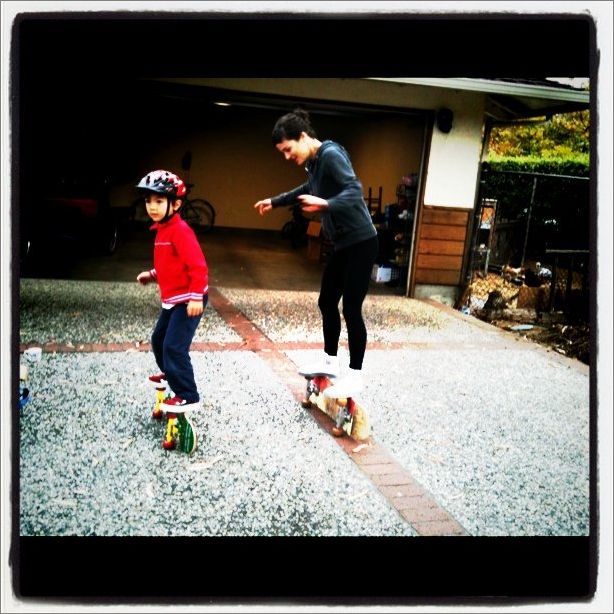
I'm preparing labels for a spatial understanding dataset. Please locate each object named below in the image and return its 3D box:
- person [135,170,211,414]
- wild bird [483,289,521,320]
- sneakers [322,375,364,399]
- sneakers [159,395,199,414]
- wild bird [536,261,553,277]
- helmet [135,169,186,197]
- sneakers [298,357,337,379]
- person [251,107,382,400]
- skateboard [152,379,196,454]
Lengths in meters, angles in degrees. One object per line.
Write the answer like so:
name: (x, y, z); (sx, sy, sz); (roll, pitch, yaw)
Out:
person: (-0.763, -0.044, 2.943); (0.381, 1.407, 0.552); (-2, 12, -27)
wild bird: (2.851, -0.036, 7.870); (0.345, 0.302, 0.582); (6, 29, 28)
sneakers: (0.226, 0.474, 3.267); (0.248, 0.218, 0.123); (-1, 6, 5)
sneakers: (-0.701, 0.530, 2.857); (0.191, 0.113, 0.099); (6, 5, -14)
wild bird: (3.762, -0.577, 8.279); (0.212, 0.145, 0.331); (4, 18, 8)
helmet: (-0.764, -0.651, 2.819); (0.145, 0.105, 0.223); (12, 7, 25)
sneakers: (0.094, 0.393, 3.564); (0.305, 0.173, 0.118); (2, 4, 20)
person: (0.099, -0.314, 3.159); (0.597, 1.690, 0.579); (6, 11, 17)
skateboard: (-0.813, 0.627, 3.081); (0.180, 0.284, 0.644); (-4, 28, -23)
